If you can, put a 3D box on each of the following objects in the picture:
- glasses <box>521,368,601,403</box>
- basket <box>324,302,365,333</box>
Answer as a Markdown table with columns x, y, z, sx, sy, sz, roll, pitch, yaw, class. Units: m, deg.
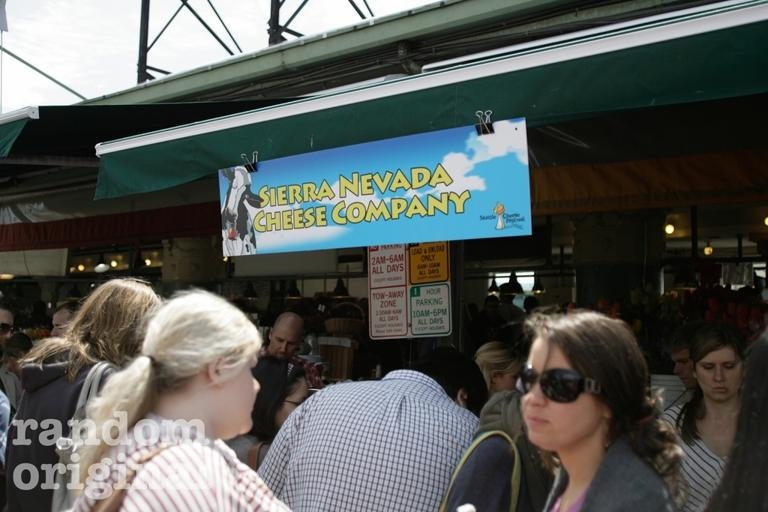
| x | y | z | sx | sy | sz | roll | pitch | yaw | class |
| --- | --- | --- | --- | --- | --- | --- | --- | --- | --- |
| 0.879 | 0.651 | 3.953 | 0.219 | 0.085 | 0.214 | 18 | -16 | -42 | glasses |
| -0.394 | 0.697 | 8.647 | 0.374 | 0.275 | 0.347 | 9 | -14 | -30 | basket |
